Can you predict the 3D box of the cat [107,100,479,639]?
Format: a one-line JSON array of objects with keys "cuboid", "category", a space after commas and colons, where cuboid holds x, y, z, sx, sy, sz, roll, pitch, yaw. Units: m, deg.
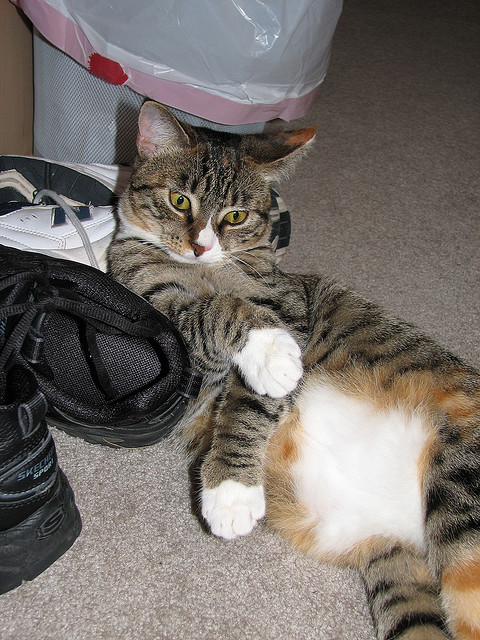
[{"cuboid": [0.049, 0.079, 1.174, 0.607, 0.359, 0.985, -3, 53, -16], "category": "cat"}]
